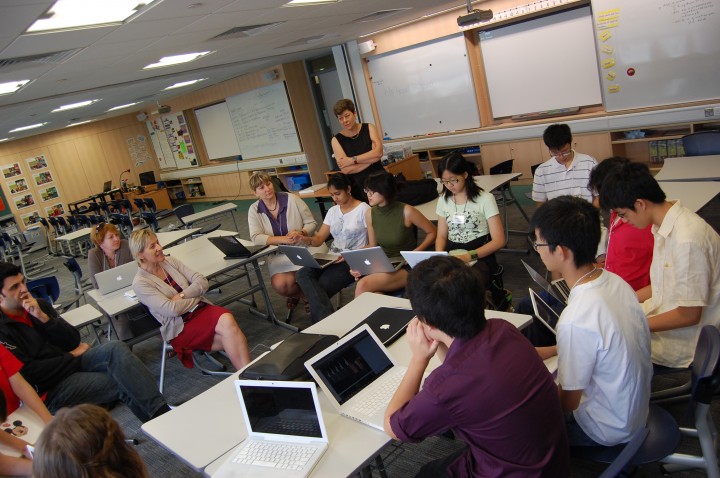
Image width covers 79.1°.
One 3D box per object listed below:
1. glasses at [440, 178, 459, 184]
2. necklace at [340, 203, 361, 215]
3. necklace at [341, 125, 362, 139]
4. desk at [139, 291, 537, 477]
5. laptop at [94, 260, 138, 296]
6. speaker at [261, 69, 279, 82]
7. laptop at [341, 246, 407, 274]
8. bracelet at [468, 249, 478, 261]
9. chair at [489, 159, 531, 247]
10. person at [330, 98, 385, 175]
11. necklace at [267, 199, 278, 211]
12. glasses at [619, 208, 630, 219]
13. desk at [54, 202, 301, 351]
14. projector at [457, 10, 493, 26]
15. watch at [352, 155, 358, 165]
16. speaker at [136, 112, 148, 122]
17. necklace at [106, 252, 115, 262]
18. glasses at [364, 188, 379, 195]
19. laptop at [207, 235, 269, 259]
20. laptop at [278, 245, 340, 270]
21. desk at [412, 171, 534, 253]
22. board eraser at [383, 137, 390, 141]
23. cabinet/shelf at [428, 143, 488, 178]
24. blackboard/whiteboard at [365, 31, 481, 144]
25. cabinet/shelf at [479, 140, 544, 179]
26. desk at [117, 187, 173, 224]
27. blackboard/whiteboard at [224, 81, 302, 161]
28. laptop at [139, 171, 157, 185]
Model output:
[{"bbox_3d":[0.806,-0.540,3.971,0.072,0.057,0.194,-22,19,-29],"label":"glasses"},{"bbox_3d":[-0.095,-0.331,4.636,0.224,0.126,0.178,1,3,6],"label":"necklace"},{"bbox_3d":[-0.106,-1.345,5.389,0.165,0.111,0.212,-15,4,16],"label":"necklace"},{"bbox_3d":[-0.180,0.870,2.598,1.009,0.381,1.687,8,30,35],"label":"desk"},{"bbox_3d":[-2.753,0.417,4.801,0.340,0.278,0.480,8,20,24],"label":"laptop"},{"bbox_3d":[-2.102,-3.938,10.304,0.365,0.301,0.218,1,18,8],"label":"speaker"},{"bbox_3d":[0.082,0.124,3.953,0.422,0.244,0.324,0,22,35],"label":"laptop"},{"bbox_3d":[1.002,0.134,3.818,0.067,0.098,0.098,1,-5,9],"label":"bracelet"},{"bbox_3d":[2.128,-0.550,6.447,0.773,0.990,0.661,-9,-2,3],"label":"chair"},{"bbox_3d":[-0.065,-1.284,5.379,0.572,0.904,0.388,-13,17,1],"label":"person"},{"bbox_3d":[-0.999,-0.390,5.005,0.104,0.133,0.126,-9,-2,-16],"label":"necklace"},{"bbox_3d":[1.572,-0.155,2.583,0.018,0.055,0.054,-6,-7,-17],"label":"glasses"},{"bbox_3d":[-1.771,0.367,5.375,1.655,1.000,2.228,10,22,30],"label":"desk"},{"bbox_3d":[1.505,-2.896,5.644,0.287,0.109,0.285,-8,12,18],"label":"projector"},{"bbox_3d":[-0.056,-0.976,5.319,0.062,0.080,0.088,0,48,2],"label":"watch"},{"bbox_3d":[-7.122,-4.064,14.231,0.316,0.284,0.306,-9,22,-9],"label":"speaker"},{"bbox_3d":[-2.994,0.214,5.230,0.120,0.085,0.090,-15,-5,27],"label":"necklace"},{"bbox_3d":[0.121,-0.454,4.166,0.103,0.028,0.096,8,3,-16],"label":"glasses"},{"bbox_3d":[-1.378,0.085,4.844,0.357,0.213,0.364,-18,18,-42],"label":"laptop"},{"bbox_3d":[-0.507,0.107,4.520,0.380,0.222,0.348,7,20,39],"label":"laptop"},{"bbox_3d":[1.492,-0.219,5.893,1.175,0.764,1.651,9,29,30],"label":"desk"},{"bbox_3d":[0.573,-2.188,9.346,0.094,0.041,0.118,0,4,6],"label":"board eraser"},{"bbox_3d":[1.907,-1.506,8.430,1.003,0.778,0.349,-1,24,34],"label":"cabinet/shelf"},{"bbox_3d":[1.247,-2.905,8.497,2.434,1.623,0.097,-21,25,-23],"label":"blackboard/whiteboard"},{"bbox_3d":[2.532,-1.347,7.125,1.128,0.652,0.365,7,21,36],"label":"cabinet/shelf"},{"bbox_3d":[-5.693,-0.911,11.504,1.240,0.785,0.671,3,14,17],"label":"desk"},{"bbox_3d":[-2.545,-3.040,11.297,2.468,1.694,0.221,0,17,40],"label":"blackboard/whiteboard"},{"bbox_3d":[-6.631,-1.929,13.597,0.412,0.394,0.355,-20,18,-23],"label":"laptop"}]
